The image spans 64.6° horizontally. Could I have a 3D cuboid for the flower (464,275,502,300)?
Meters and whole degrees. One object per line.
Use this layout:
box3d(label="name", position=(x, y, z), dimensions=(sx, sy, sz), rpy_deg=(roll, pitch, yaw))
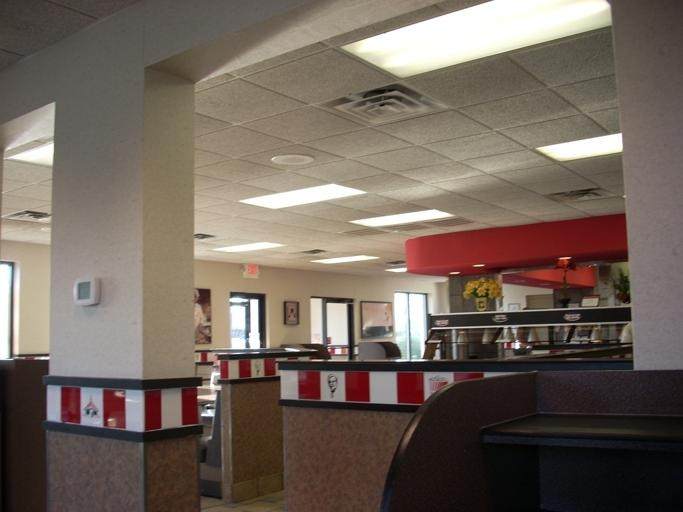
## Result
box3d(label="flower", position=(2.563, 0.586, 9.848), dimensions=(0.628, 0.403, 0.773), rpy_deg=(-6, -10, 30))
